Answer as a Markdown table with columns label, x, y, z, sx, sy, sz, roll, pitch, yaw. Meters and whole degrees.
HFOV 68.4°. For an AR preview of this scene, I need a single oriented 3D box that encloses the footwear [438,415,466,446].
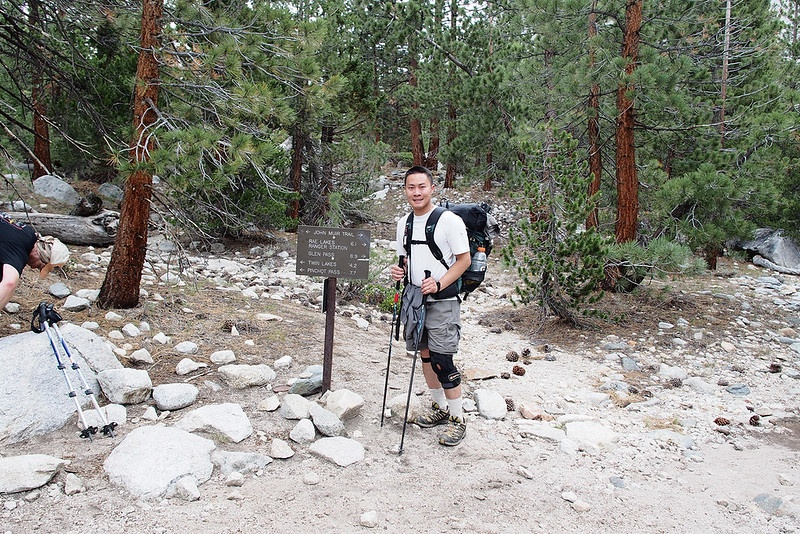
| label | x | y | z | sx | sy | sz | roll | pitch | yaw |
| --- | --- | --- | --- | --- | --- | --- | --- | --- | --- |
| footwear | 0.727 | 2.271 | 8.002 | 0.201 | 0.243 | 0.546 | 0 | -8 | 21 |

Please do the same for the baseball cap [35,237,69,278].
| label | x | y | z | sx | sy | sz | roll | pitch | yaw |
| --- | --- | --- | --- | --- | --- | --- | --- | --- | --- |
| baseball cap | -4.675 | -0.121 | 7.913 | 0.309 | 0.540 | 0.389 | -4 | -16 | 11 |

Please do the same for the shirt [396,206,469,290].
| label | x | y | z | sx | sy | sz | roll | pitch | yaw |
| --- | --- | --- | --- | --- | --- | --- | --- | --- | --- |
| shirt | 0.489 | -0.248 | 7.882 | 0.953 | 0.979 | 0.523 | 11 | 18 | 35 |
